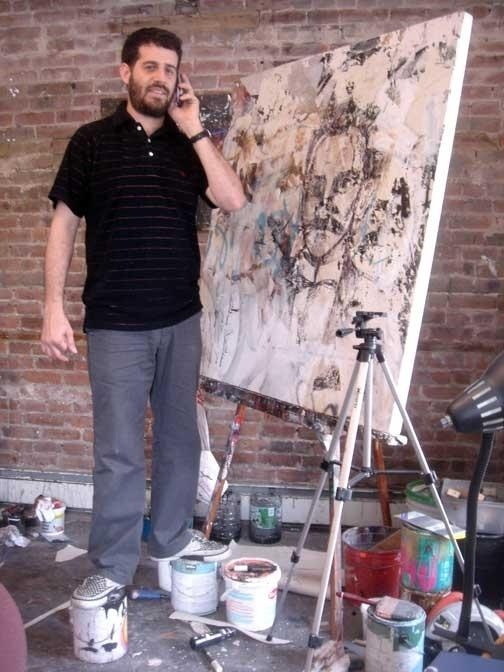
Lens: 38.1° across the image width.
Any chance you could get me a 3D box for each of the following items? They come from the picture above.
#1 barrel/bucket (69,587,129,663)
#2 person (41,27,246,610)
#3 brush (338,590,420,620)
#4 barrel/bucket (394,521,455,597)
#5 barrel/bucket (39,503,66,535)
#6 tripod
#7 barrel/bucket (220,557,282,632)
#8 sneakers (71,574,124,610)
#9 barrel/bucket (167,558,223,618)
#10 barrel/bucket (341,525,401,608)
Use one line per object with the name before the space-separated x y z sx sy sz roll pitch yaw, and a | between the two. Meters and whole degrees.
barrel/bucket | -0.433 0.855 2.183 0.188 0.225 0.194 -1 5 0
person | -0.377 -0.119 2.379 0.353 1.739 0.667 4 7 40
brush | 0.373 0.751 2.030 0.126 0.022 0.075 0 0 39
barrel/bucket | 0.541 0.681 2.323 0.184 0.201 0.183 -1 2 0
barrel/bucket | -0.841 0.789 3.183 0.113 0.118 0.116 4 1 0
tripod | 0.348 0.448 2.129 0.563 1.059 0.608 -1 5 -5
barrel/bucket | -0.003 0.848 2.436 0.203 0.217 0.216 2 10 0
sneakers | -0.453 0.746 2.150 0.068 0.055 0.130 16 19 35
barrel/bucket | -0.187 0.851 2.537 0.186 0.194 0.178 2 1 0
barrel/bucket | 0.415 0.792 2.543 0.188 0.201 0.198 0 13 0
